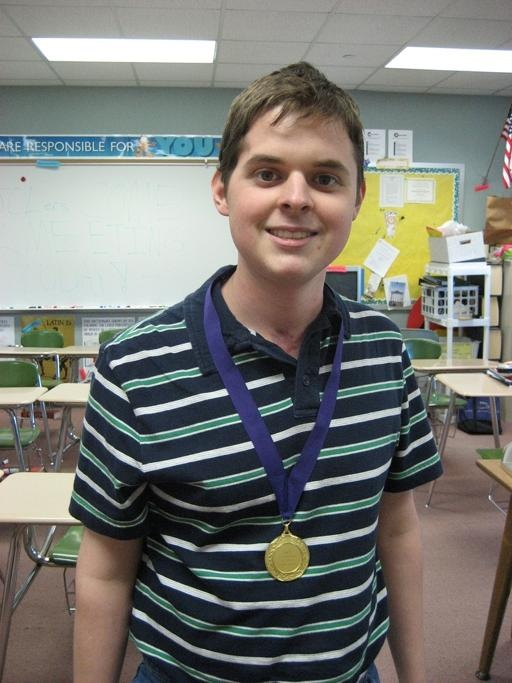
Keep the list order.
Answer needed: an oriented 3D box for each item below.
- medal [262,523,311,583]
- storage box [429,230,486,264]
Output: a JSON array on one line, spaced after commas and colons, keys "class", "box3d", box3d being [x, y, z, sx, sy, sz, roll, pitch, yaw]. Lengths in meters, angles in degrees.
[{"class": "medal", "box3d": [0.034, 0.254, 0.682, 0.080, 0.098, 0.015, 0, -2, -5]}, {"class": "storage box", "box3d": [1.604, -0.801, 4.647, 0.535, 0.271, 0.302, -1, 14, -12]}]
